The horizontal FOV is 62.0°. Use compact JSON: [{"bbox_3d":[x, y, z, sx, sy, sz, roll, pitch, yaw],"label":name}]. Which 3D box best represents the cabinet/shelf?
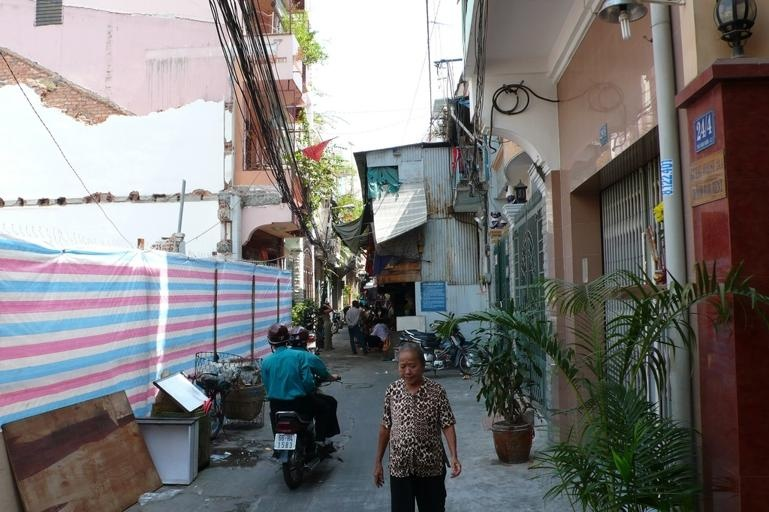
[{"bbox_3d":[-2.699,2.524,8.074,0.652,0.668,0.625,0,-13,-12],"label":"cabinet/shelf"}]

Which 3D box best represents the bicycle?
[{"bbox_3d":[-2.652,2.167,10.048,0.769,0.978,1.496,-1,0,-26],"label":"bicycle"}]

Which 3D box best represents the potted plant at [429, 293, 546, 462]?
[{"bbox_3d":[1.536,1.832,8.570,1.212,1.738,1.426,-5,-11,12],"label":"potted plant"}]

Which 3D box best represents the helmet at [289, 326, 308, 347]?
[{"bbox_3d":[-1.190,1.124,8.812,0.221,0.272,0.272,1,7,4],"label":"helmet"}]

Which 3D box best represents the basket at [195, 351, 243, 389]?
[{"bbox_3d":[-2.631,1.798,10.109,0.517,0.362,0.554,1,-8,8],"label":"basket"}]

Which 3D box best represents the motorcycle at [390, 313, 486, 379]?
[{"bbox_3d":[1.419,2.266,15.248,2.373,1.638,1.357,0,-6,0],"label":"motorcycle"}]

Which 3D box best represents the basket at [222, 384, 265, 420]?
[{"bbox_3d":[-2.253,2.372,10.320,0.620,0.488,0.525,-4,-12,16],"label":"basket"}]

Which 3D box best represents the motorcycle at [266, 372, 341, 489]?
[{"bbox_3d":[-1.020,2.183,8.522,0.748,1.210,1.794,0,3,11],"label":"motorcycle"}]

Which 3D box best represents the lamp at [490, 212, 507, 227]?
[{"bbox_3d":[2.525,-0.775,14.166,0.246,0.364,0.351,-3,-23,-39],"label":"lamp"}]

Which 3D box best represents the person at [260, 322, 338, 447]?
[{"bbox_3d":[-0.902,1.681,8.866,0.865,1.432,1.557,-5,1,9],"label":"person"}]

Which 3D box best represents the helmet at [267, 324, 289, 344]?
[{"bbox_3d":[-1.400,1.065,8.554,0.198,0.223,0.271,2,-7,-17],"label":"helmet"}]
